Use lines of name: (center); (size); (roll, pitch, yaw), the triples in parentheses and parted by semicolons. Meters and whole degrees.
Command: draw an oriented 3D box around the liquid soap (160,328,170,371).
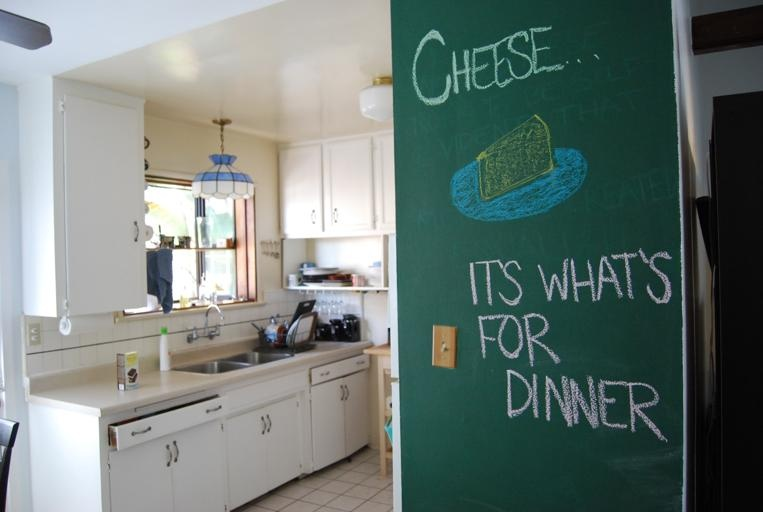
liquid soap: (-1.533, 0.643, 4.375); (0.079, 0.318, 0.277); (-4, 1, -20)

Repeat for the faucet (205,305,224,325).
faucet: (-1.295, 0.453, 4.836); (0.079, 0.158, 0.212); (-3, 1, 31)

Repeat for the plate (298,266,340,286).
plate: (-0.543, 0.173, 5.474); (0.342, 0.156, 0.263); (-4, 0, -7)

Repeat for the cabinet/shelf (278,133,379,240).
cabinet/shelf: (-0.437, -0.555, 5.491); (0.984, 0.862, 0.362); (-3, -2, 21)

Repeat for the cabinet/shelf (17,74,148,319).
cabinet/shelf: (-1.645, -0.341, 4.031); (0.666, 1.491, 0.549); (4, 8, 6)

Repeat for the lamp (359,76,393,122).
lamp: (-0.032, -0.939, 3.564); (0.183, 0.264, 0.330); (-4, 0, 0)

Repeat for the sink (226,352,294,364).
sink: (-0.928, 0.789, 4.826); (0.526, 0.101, 0.201); (-4, 0, 16)

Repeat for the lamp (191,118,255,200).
lamp: (-1.106, -0.686, 4.300); (0.438, 0.520, 0.441); (-1, 5, -24)

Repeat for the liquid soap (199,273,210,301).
liquid soap: (-1.404, 0.243, 4.952); (0.066, 0.220, 0.126); (-3, 1, 22)

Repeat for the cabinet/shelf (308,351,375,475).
cabinet/shelf: (-0.167, 1.309, 5.130); (0.438, 0.855, 0.714); (23, -41, -34)

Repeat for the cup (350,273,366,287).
cup: (-0.201, 0.210, 5.350); (0.103, 0.111, 0.102); (-1, -1, 0)
